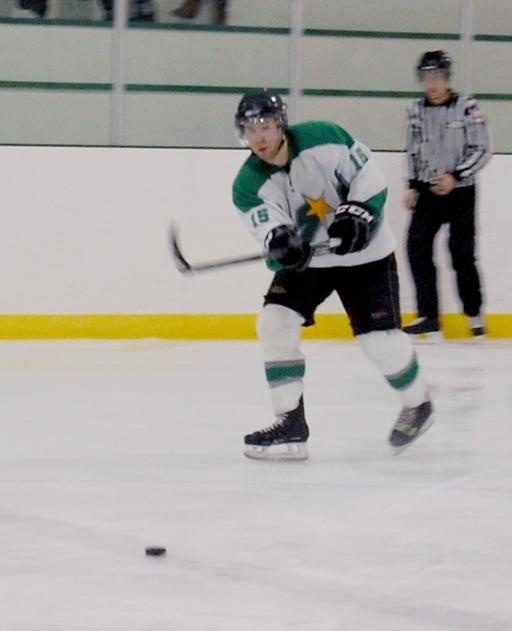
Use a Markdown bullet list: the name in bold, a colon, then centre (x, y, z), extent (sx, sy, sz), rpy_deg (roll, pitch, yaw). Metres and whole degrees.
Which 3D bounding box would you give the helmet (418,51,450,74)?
- **helmet**: centre (0.745, -1.055, 3.840), extent (0.121, 0.066, 0.131), rpy_deg (0, 5, -3)

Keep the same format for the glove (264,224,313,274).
- **glove**: centre (0.075, -0.148, 2.076), extent (0.105, 0.097, 0.095), rpy_deg (-17, 5, -3)

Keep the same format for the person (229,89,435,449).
- **person**: centre (0.173, -0.101, 2.151), extent (0.450, 0.847, 0.281), rpy_deg (-3, 5, 5)

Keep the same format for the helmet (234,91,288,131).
- **helmet**: centre (0.018, -0.464, 2.055), extent (0.112, 0.069, 0.100), rpy_deg (-5, 24, 10)
